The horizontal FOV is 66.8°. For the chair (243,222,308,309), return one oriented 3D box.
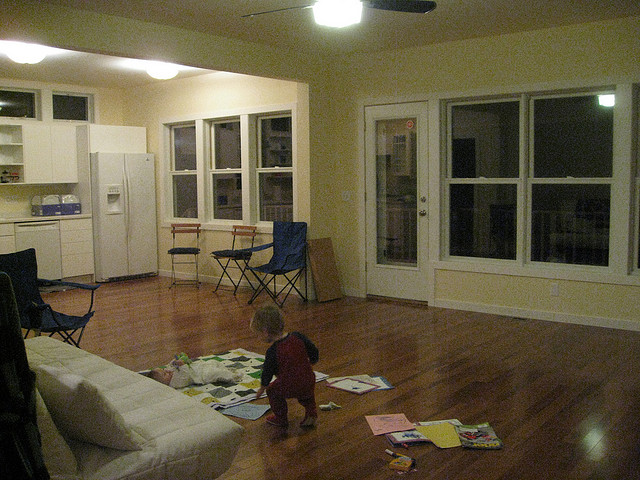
[{"bbox_3d":[-0.536,0.314,6.236,0.666,1.015,0.845,-7,9,-44],"label":"chair"}]

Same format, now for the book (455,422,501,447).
[{"bbox_3d":[0.971,1.216,3.018,0.225,0.019,0.266,-1,8,3],"label":"book"}]

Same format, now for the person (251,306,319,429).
[{"bbox_3d":[-0.224,0.847,3.226,0.449,0.813,0.410,-3,7,2],"label":"person"}]

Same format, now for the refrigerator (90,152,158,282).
[{"bbox_3d":[-3.140,-0.382,7.910,0.976,2.053,0.374,-5,9,-24],"label":"refrigerator"}]

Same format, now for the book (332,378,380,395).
[{"bbox_3d":[0.271,1.128,3.732,0.290,0.012,0.215,6,10,43],"label":"book"}]

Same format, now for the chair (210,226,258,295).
[{"bbox_3d":[-1.236,0.268,6.972,0.663,0.915,0.667,-5,6,-39],"label":"chair"}]

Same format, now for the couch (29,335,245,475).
[{"bbox_3d":[-0.979,0.785,2.505,0.816,0.569,1.106,-6,9,-32],"label":"couch"}]

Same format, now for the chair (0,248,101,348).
[{"bbox_3d":[-2.533,0.537,4.624,0.852,0.906,0.856,8,7,23],"label":"chair"}]

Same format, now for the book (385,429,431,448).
[{"bbox_3d":[0.541,1.225,3.001,0.240,0.026,0.150,-3,8,-14],"label":"book"}]

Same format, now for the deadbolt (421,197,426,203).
[{"bbox_3d":[1.284,-0.507,6.032,0.074,0.072,0.020,1,2,30],"label":"deadbolt"}]
